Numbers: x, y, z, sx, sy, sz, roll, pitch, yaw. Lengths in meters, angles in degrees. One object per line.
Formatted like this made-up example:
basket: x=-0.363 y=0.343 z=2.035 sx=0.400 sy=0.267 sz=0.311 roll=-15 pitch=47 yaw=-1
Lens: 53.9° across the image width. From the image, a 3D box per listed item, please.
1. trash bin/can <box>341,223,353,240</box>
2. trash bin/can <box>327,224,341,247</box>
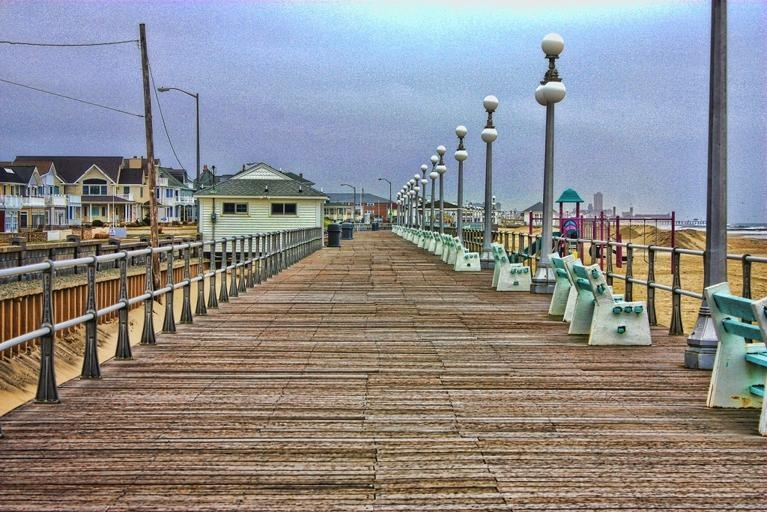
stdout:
trash bin/can: x=-2.708 y=-1.886 z=56.314 sx=1.223 sy=1.488 sz=1.141 roll=0 pitch=-1 yaw=-4
trash bin/can: x=-2.719 y=-1.143 z=41.375 sx=0.613 sy=1.274 sz=1.222 roll=-1 pitch=7 yaw=-11
